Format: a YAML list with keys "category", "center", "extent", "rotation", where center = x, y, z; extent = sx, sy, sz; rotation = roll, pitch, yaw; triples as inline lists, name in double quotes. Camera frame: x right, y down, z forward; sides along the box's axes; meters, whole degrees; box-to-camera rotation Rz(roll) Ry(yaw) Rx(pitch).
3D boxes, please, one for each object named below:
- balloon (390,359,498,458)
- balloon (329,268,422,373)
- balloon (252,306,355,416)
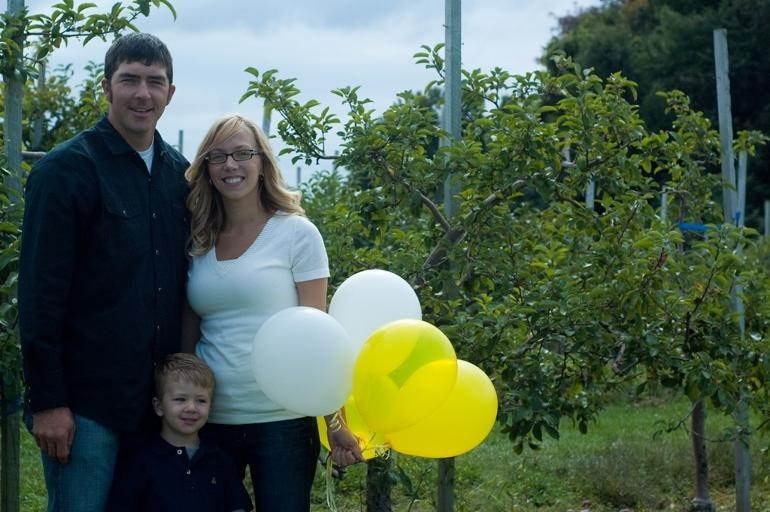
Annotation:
- category: "balloon"
  center: [0.370, 1.047, 9.098]
  extent: [0.729, 0.588, 0.437]
  rotation: [-8, 42, -8]
- category: "balloon"
  center: [-0.108, 0.495, 9.283]
  extent: [0.582, 0.696, 0.571]
  rotation: [-2, -19, -20]
- category: "balloon"
  center: [-0.553, 0.733, 8.869]
  extent: [0.699, 0.707, 0.351]
  rotation: [-21, -3, -11]
